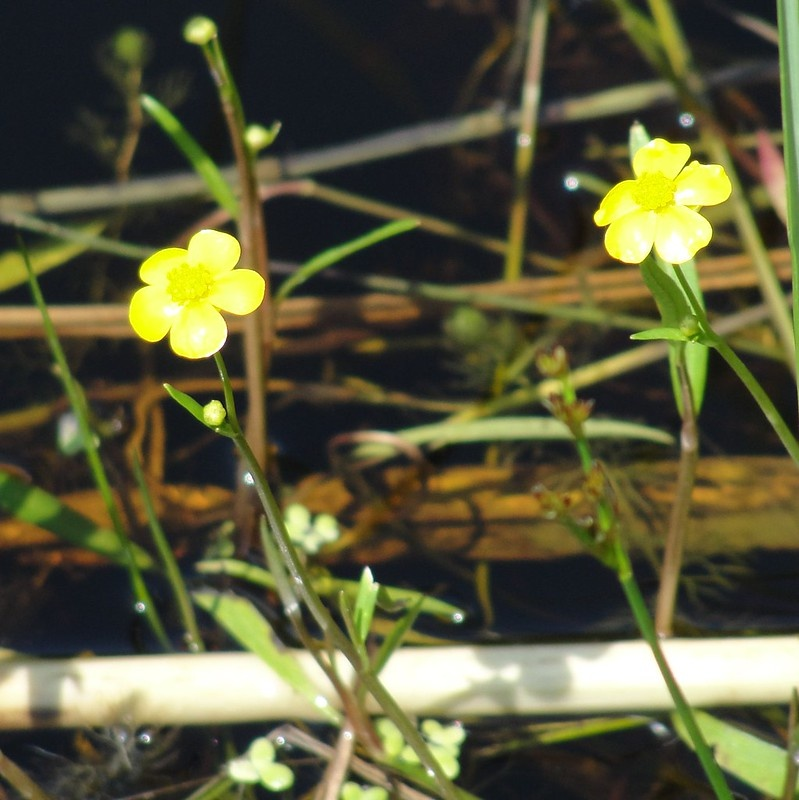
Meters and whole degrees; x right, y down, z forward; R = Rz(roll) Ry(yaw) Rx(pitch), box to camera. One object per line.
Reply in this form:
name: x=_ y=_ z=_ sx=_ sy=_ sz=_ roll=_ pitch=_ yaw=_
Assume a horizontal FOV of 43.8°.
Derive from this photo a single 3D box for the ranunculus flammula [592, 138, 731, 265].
ranunculus flammula: x=0.159 y=-0.123 z=0.610 sx=0.079 sy=0.073 sz=0.028 roll=-6 pitch=11 yaw=14
